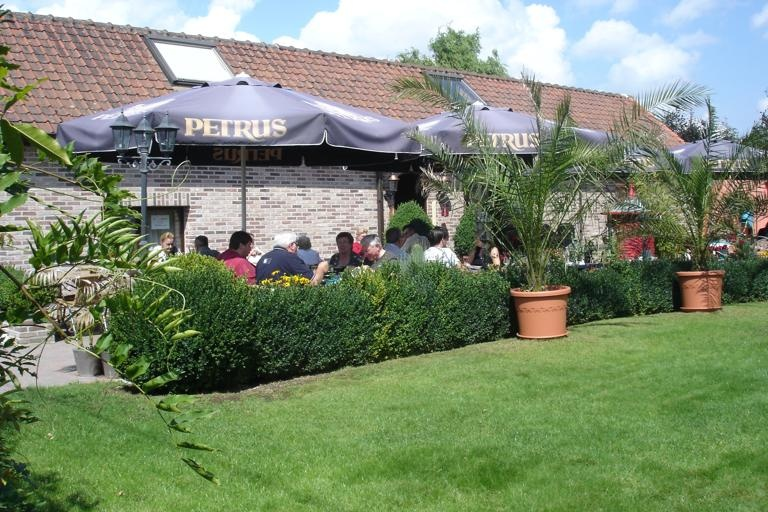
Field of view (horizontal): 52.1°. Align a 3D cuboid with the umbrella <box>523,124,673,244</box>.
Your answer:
[{"bbox_3d":[3.540,-1.310,13.169,2.035,1.748,2.217,-2,-4,2],"label":"umbrella"}]

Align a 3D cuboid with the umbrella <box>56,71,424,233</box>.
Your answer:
[{"bbox_3d":[-1.902,-1.915,10.796,4.629,1.067,1.055,-2,4,-6],"label":"umbrella"}]

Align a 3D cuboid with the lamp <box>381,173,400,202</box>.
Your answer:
[{"bbox_3d":[0.129,-1.621,18.415,0.531,0.928,0.319,-1,5,9],"label":"lamp"}]
